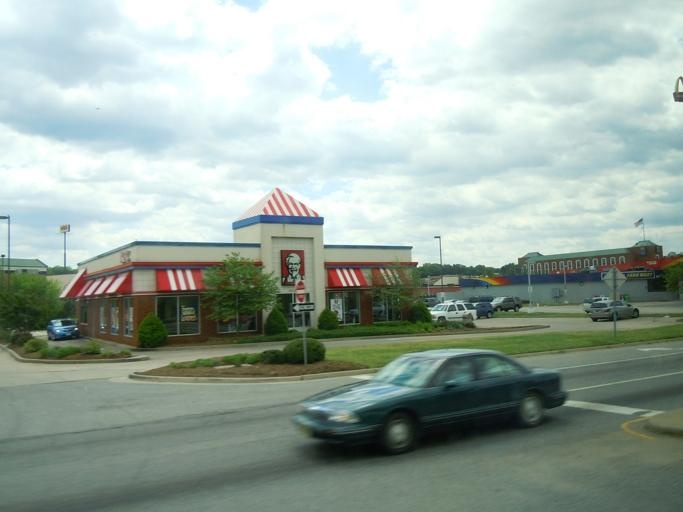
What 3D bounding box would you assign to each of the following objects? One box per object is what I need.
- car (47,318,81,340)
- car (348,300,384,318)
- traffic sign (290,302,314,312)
[{"bbox_3d":[-18.936,4.998,50.845,1.400,0.876,2.736,1,-10,-31],"label":"car"},{"bbox_3d":[1.700,3.572,47.750,2.026,0.645,0.934,1,-2,-8],"label":"car"},{"bbox_3d":[-1.319,1.722,25.543,0.718,0.326,0.838,-1,-5,-5],"label":"traffic sign"}]
